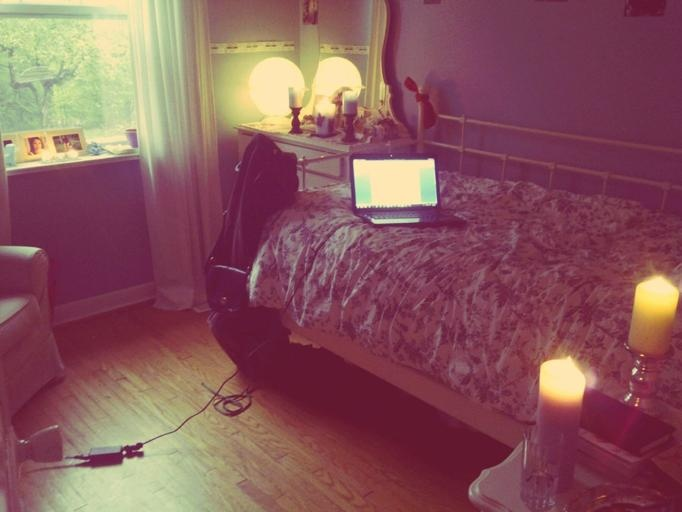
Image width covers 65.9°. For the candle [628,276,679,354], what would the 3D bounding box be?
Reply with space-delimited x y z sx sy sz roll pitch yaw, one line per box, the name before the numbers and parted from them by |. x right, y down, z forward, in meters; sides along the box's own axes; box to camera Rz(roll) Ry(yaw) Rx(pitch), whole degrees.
candle | 0.791 0.150 1.332 0.094 0.166 0.132 13 26 31

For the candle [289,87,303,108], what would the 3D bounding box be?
candle | -0.322 -1.113 3.698 0.112 0.144 0.121 -2 20 0

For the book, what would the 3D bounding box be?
book | 0.712 0.468 1.379 0.268 0.078 0.199 25 60 33

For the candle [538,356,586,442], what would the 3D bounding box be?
candle | 0.535 0.348 1.294 0.115 0.168 0.104 -15 26 -29

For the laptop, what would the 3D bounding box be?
laptop | 0.302 -0.337 2.724 0.513 0.336 0.429 -1 16 -1

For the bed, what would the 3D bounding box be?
bed | 0.365 0.141 2.653 1.897 0.965 1.441 23 41 35
